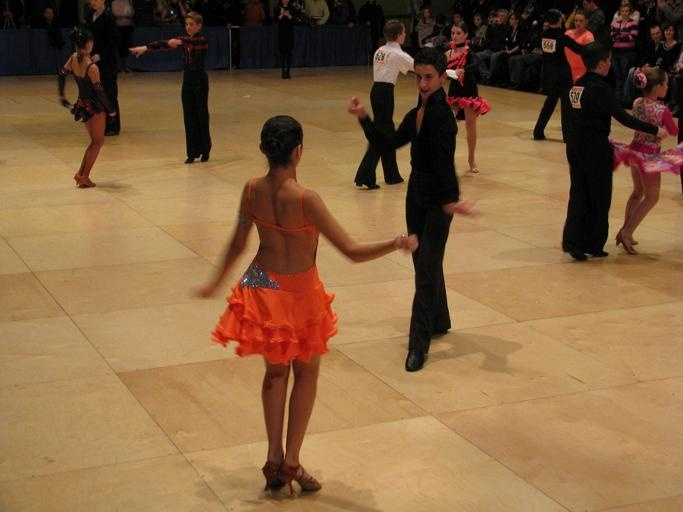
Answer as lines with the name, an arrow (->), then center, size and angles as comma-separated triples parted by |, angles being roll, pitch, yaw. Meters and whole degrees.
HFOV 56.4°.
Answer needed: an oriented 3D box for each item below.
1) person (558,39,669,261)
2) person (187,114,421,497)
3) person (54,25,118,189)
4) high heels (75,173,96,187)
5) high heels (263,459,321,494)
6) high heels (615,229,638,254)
person -> 2.942, -1.185, 7.296 | 0.782, 2.394, 0.786 | 7, 20, 16
person -> -0.305, 0.285, 3.536 | 0.841, 2.044, 0.650 | 17, 25, 38
person -> -3.995, -2.372, 10.133 | 0.689, 2.323, 1.265 | -7, 21, -21
high heels -> -3.994, -1.164, 9.922 | 0.136, 0.169, 0.410 | 15, 17, 31
high heels -> -0.268, 1.232, 3.583 | 0.168, 0.126, 0.313 | 2, 0, 42
high heels -> 3.431, -0.179, 7.701 | 0.150, 0.212, 0.485 | -30, 7, -2
